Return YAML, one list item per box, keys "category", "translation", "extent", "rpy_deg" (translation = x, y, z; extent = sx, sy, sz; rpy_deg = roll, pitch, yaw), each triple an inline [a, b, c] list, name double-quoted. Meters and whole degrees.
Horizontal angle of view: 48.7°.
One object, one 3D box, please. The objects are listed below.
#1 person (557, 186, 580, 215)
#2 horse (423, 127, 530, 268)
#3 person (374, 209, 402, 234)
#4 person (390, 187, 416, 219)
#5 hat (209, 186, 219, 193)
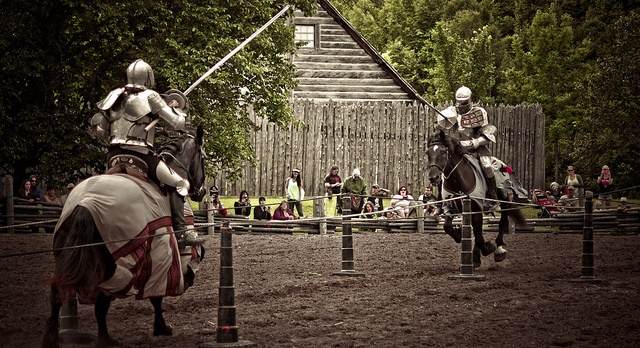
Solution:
- category: "person"
  translation: [9.465, 1.017, 26.930]
  extent: [0.842, 1.039, 0.605]
  rpy_deg: [8, -35, 18]
- category: "horse"
  translation: [4.620, 0.736, 21.365]
  extent: [3.141, 4.095, 1.132]
  rpy_deg: [2, -8, -38]
- category: "person"
  translation: [2.593, 1.774, 27.154]
  extent: [1.090, 0.595, 1.376]
  rpy_deg: [-9, -4, 4]
- category: "person"
  translation: [3.303, 1.178, 27.326]
  extent: [0.937, 1.372, 0.859]
  rpy_deg: [-6, -1, -17]
- category: "hat"
  translation: [-3.251, 0.481, 21.768]
  extent: [0.302, 0.117, 0.320]
  rpy_deg: [1, -2, -9]
